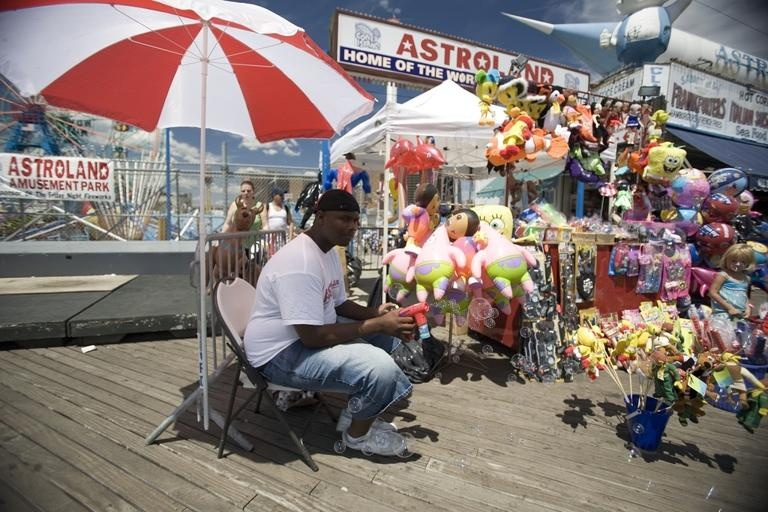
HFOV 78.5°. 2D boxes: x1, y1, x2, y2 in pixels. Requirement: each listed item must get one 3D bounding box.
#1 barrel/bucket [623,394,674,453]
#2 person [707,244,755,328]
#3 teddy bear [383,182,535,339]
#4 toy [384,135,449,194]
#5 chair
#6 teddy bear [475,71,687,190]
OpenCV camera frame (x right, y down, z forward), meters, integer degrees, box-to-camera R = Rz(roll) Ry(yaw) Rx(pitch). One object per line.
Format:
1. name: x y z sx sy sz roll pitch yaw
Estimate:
1. barrel/bucket: 2.474 1.594 4.641 0.552 0.473 0.539 -2 0 0
2. person: 4.116 0.302 5.515 0.509 0.893 0.325 2 4 5
3. teddy bear: 0.910 0.024 5.967 2.300 1.935 1.051 3 1 9
4. toy: 0.390 -1.404 6.940 0.576 0.627 0.987 -3 3 -23
5. chair: -1.277 0.957 4.278 1.449 2.042 1.288 0 2 11
6. teddy bear: 2.025 -1.643 6.055 1.852 1.253 0.564 0 5 -27
